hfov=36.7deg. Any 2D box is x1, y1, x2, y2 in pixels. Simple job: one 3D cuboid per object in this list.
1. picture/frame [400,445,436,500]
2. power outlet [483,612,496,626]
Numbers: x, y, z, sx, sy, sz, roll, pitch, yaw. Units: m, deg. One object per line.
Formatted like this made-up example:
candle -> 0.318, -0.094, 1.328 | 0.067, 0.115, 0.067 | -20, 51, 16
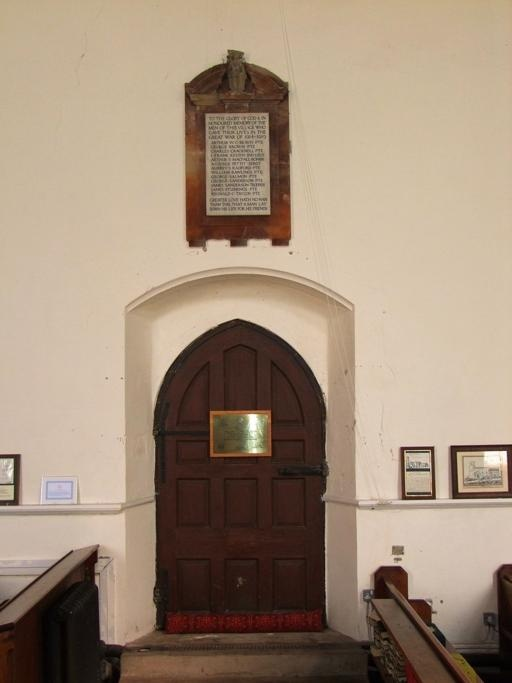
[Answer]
picture/frame -> 0.962, 0.788, 4.577 | 0.266, 0.414, 0.031 | 0, -7, -1
power outlet -> 1.386, 1.628, 4.544 | 0.063, 0.067, 0.034 | 0, -5, 7
